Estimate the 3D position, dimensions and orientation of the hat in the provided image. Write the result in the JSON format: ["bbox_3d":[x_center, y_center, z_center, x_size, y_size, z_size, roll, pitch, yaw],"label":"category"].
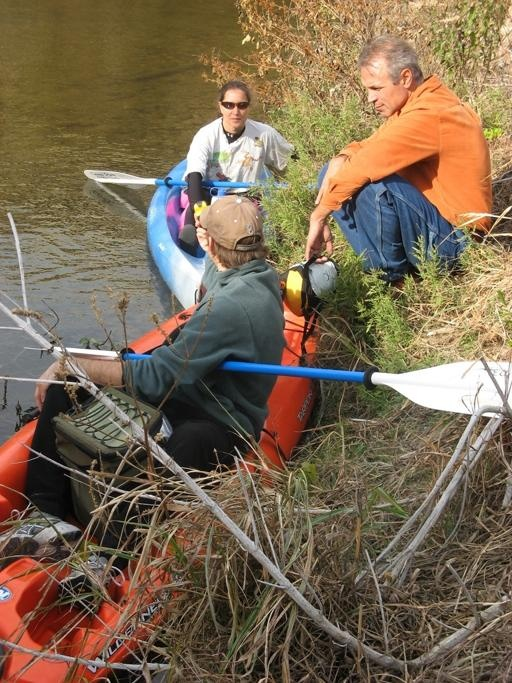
[{"bbox_3d":[-0.068,-0.479,2.683,0.249,0.167,0.308,-9,37,-9],"label":"hat"}]

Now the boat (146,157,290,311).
[{"bbox_3d":[-0.446,-0.858,5.310,0.548,1.593,0.279,-34,91,-10],"label":"boat"}]

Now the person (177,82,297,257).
[{"bbox_3d":[-0.179,-1.381,5.235,1.038,0.795,1.308,1,54,-1],"label":"person"}]

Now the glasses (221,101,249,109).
[{"bbox_3d":[-0.147,-1.676,4.982,0.178,0.065,0.086,5,32,-8],"label":"glasses"}]
